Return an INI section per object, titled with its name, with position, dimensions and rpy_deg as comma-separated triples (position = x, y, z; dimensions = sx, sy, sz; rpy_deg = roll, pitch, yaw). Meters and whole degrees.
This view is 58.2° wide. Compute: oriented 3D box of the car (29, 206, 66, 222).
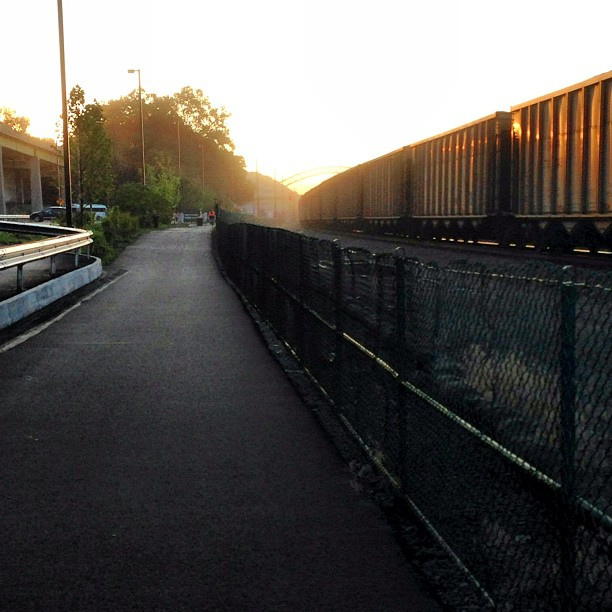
[car]
position = -31.820, -11.322, 67.130
dimensions = 3.111, 2.248, 7.460
rpy_deg = -2, 5, -24
